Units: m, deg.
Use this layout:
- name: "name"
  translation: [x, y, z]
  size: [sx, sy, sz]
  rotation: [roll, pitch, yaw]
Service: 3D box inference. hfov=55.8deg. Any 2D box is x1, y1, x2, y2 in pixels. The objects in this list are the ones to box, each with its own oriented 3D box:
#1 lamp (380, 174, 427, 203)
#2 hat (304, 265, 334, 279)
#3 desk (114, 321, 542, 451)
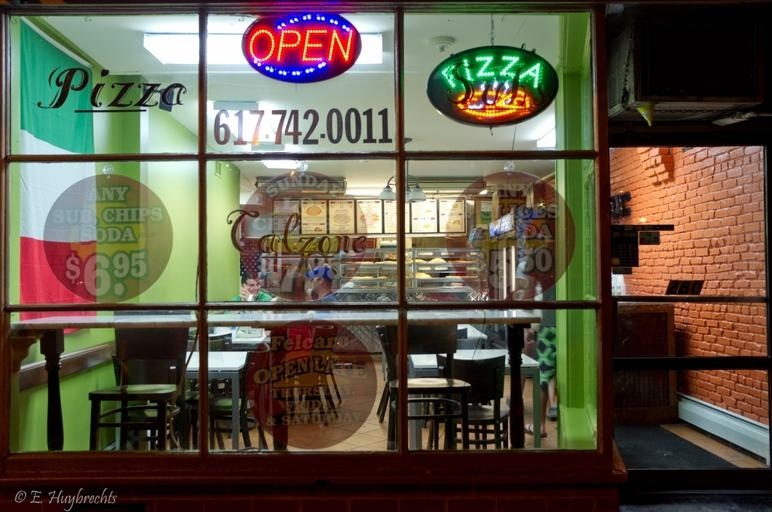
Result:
- name: "lamp"
  translation: [0.084, -0.355, 3.882]
  size: [0.245, 0.146, 0.050]
  rotation: [-2, -2, 4]
- name: "hat"
  translation: [-0.355, 0.088, 3.897]
  size: [0.130, 0.062, 0.074]
  rotation: [1, -6, 2]
- name: "desk"
  translation: [-0.380, 0.617, 4.381]
  size: [1.911, 0.729, 0.430]
  rotation: [1, -3, 2]
